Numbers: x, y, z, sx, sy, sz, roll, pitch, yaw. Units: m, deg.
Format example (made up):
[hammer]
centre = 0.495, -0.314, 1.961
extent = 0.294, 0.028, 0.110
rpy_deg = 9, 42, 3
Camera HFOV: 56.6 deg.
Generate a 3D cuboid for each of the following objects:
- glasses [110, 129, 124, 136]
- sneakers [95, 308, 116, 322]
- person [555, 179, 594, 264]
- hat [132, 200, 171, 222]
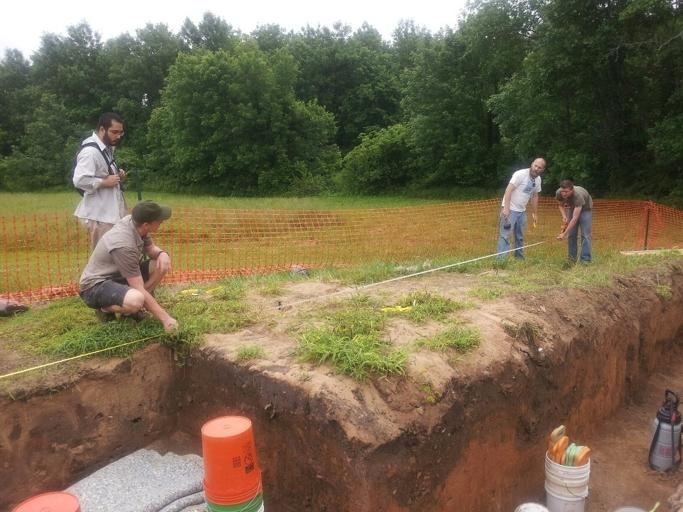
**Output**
[glasses]
centre = -3.191, -1.763, 9.086
extent = 0.125, 0.101, 0.285
rpy_deg = 1, 14, 6
[sneakers]
centre = -3.271, 0.833, 8.823
extent = 0.210, 0.205, 0.180
rpy_deg = 4, 10, 23
[person]
centre = 4.369, -0.683, 11.926
extent = 0.744, 1.541, 0.885
rpy_deg = 11, 18, 38
[hat]
centre = -2.547, -0.585, 8.601
extent = 0.444, 0.240, 0.290
rpy_deg = -10, 44, -35
